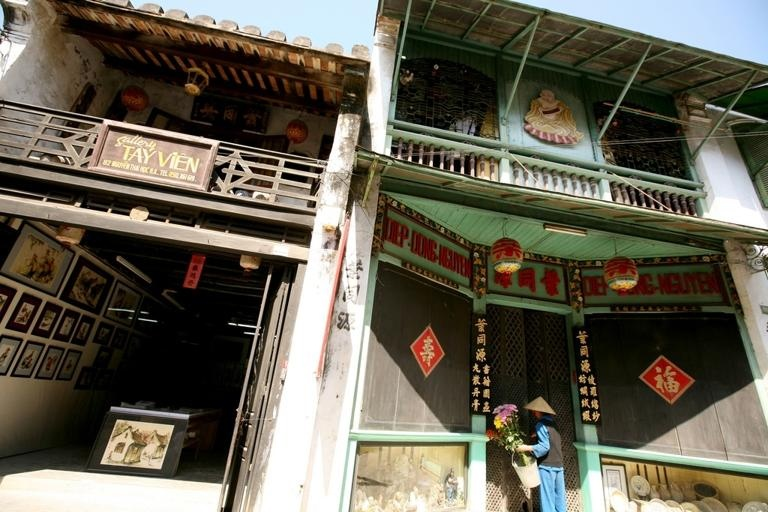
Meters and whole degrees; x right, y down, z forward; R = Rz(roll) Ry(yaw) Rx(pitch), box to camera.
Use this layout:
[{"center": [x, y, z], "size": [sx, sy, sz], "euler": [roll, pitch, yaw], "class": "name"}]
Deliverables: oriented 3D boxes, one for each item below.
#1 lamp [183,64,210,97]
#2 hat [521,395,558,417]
[{"center": [-4.528, -4.282, 11.804], "size": [0.572, 0.541, 0.576], "euler": [23, -48, -22], "class": "lamp"}, {"center": [3.598, 3.476, 11.153], "size": [0.620, 0.255, 0.612], "euler": [3, -20, 33], "class": "hat"}]
